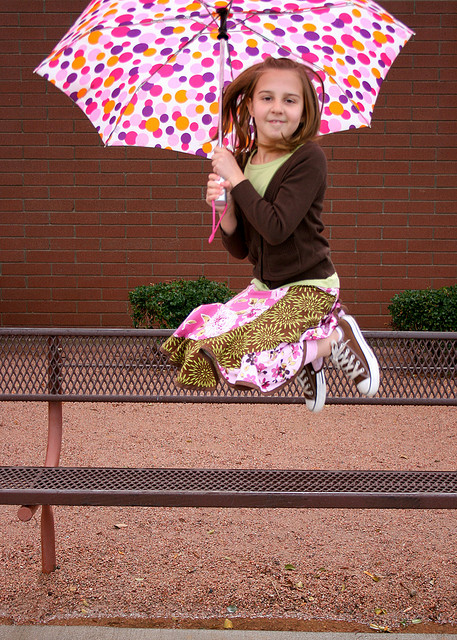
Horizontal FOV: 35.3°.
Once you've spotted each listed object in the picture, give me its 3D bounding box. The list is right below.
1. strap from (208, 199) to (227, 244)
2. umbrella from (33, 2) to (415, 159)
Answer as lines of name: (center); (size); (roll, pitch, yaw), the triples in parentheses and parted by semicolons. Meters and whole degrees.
strap: (-0.045, -0.283, 2.070); (0.054, 0.151, 0.007); (17, -1, -42)
umbrella: (-0.002, -0.800, 2.370); (1.215, 0.504, 0.394); (-1, 9, -14)
